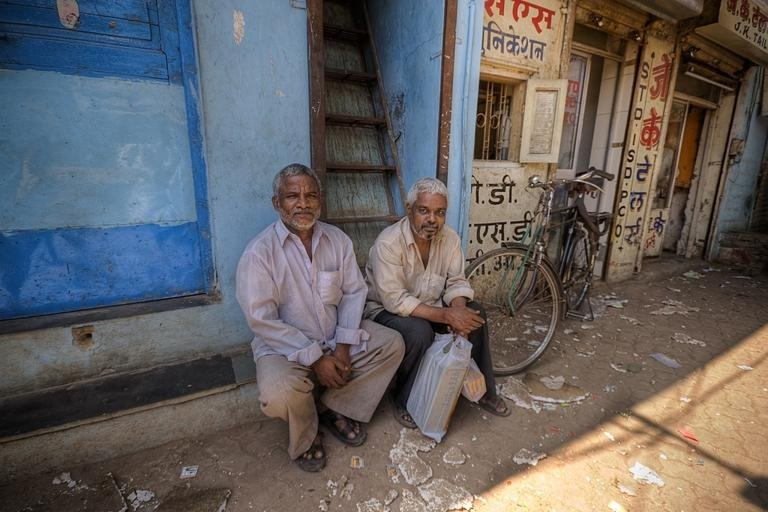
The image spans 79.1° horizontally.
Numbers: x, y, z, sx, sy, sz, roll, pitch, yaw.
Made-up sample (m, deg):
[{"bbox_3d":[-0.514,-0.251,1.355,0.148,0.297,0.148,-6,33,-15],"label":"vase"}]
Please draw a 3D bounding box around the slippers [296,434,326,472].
[{"bbox_3d":[-0.601,1.675,3.900,0.230,0.209,0.173,-10,16,-33],"label":"slippers"}]

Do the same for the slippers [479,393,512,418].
[{"bbox_3d":[1.047,1.397,4.348,0.307,0.135,0.133,9,25,31],"label":"slippers"}]

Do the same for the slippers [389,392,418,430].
[{"bbox_3d":[0.169,1.423,4.279,0.140,0.109,0.347,-25,49,-15],"label":"slippers"}]
